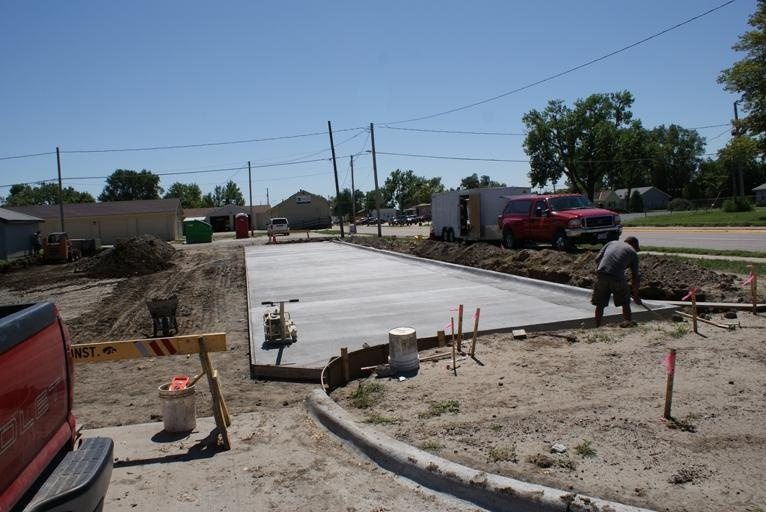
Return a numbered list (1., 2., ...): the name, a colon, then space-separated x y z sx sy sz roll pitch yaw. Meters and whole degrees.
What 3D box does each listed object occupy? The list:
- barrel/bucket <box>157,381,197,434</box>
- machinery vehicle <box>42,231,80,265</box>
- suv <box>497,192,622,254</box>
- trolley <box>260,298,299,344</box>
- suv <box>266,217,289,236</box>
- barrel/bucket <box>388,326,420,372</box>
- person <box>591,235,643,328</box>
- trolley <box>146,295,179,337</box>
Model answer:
1. barrel/bucket: -2.956 2.206 8.477 0.656 0.695 0.651 -1 1 0
2. machinery vehicle: -18.422 -0.408 32.702 1.180 1.253 2.284 0 7 -4
3. suv: 6.105 -1.166 20.208 2.129 1.513 3.788 -3 2 -23
4. trolley: -2.075 1.282 11.747 0.594 0.707 1.284 -1 13 -7
5. suv: -9.291 -2.403 51.323 1.828 1.564 3.219 -2 9 -15
6. barrel/bucket: 0.411 1.501 9.361 0.615 0.582 0.615 -1 2 0
7. person: 4.307 0.509 10.668 0.817 1.687 0.696 -2 5 20
8. trolley: -5.015 1.425 13.136 0.604 0.604 1.542 -3 -39 -19
